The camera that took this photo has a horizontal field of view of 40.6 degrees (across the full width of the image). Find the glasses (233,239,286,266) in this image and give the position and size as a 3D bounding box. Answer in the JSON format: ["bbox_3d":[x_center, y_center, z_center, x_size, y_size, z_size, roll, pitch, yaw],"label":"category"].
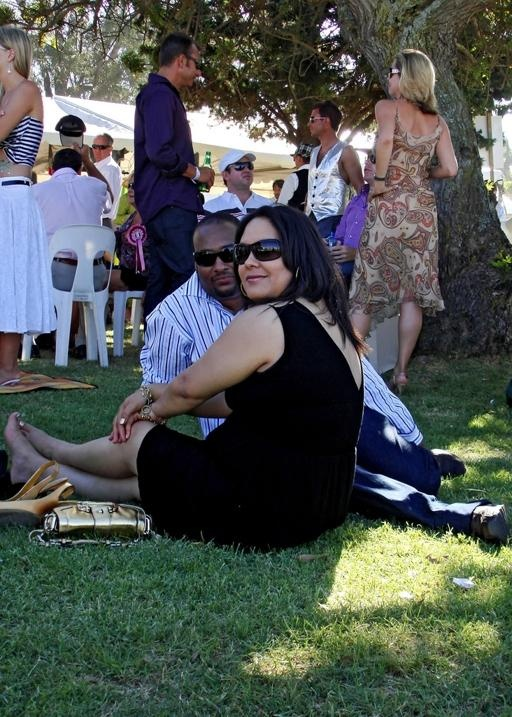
[{"bbox_3d":[0.000,-0.313,2.025,0.153,0.071,0.056,4,4,42],"label":"glasses"}]

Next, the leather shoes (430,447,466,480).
[{"bbox_3d":[0.855,0.468,3.070,0.178,0.097,0.094,28,32,0],"label":"leather shoes"}]

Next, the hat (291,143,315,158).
[{"bbox_3d":[0.532,-2.277,7.563,0.201,0.129,0.267,-9,22,-37],"label":"hat"}]

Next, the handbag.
[{"bbox_3d":[-0.493,0.494,2.140,0.256,0.080,0.138,4,-3,-17],"label":"handbag"}]

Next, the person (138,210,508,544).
[{"bbox_3d":[0.310,-0.007,2.774,1.502,0.728,1.086,18,19,41],"label":"person"}]

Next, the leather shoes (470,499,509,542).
[{"bbox_3d":[0.758,0.537,2.275,0.096,0.115,0.150,2,3,-3],"label":"leather shoes"}]

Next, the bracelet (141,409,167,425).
[{"bbox_3d":[-0.344,0.197,2.352,0.068,0.028,0.049,21,-35,-7],"label":"bracelet"}]

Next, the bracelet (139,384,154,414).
[{"bbox_3d":[-0.387,0.134,2.435,0.038,0.078,0.065,-9,-3,19],"label":"bracelet"}]

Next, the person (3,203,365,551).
[{"bbox_3d":[0.000,0.119,2.645,1.473,1.134,0.752,5,3,30],"label":"person"}]

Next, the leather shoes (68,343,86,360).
[{"bbox_3d":[-1.708,-0.074,6.641,0.080,0.167,0.315,12,11,-21],"label":"leather shoes"}]
